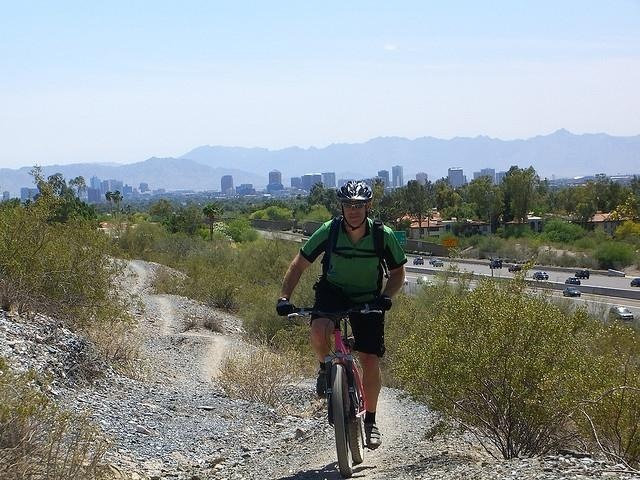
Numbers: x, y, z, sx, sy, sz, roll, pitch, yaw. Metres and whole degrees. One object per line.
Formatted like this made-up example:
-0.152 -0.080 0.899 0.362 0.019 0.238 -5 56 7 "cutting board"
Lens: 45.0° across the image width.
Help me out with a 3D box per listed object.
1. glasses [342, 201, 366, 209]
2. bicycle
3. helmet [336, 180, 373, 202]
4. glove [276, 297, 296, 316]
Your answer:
0.441 -0.428 9.670 0.296 0.098 0.085 1 7 -6 "glasses"
0.282 1.832 9.527 1.063 2.114 0.669 -5 8 -43 "bicycle"
0.460 -0.624 9.823 0.447 0.255 0.444 2 7 2 "helmet"
-0.406 0.817 9.437 0.219 0.175 0.249 2 14 13 "glove"
